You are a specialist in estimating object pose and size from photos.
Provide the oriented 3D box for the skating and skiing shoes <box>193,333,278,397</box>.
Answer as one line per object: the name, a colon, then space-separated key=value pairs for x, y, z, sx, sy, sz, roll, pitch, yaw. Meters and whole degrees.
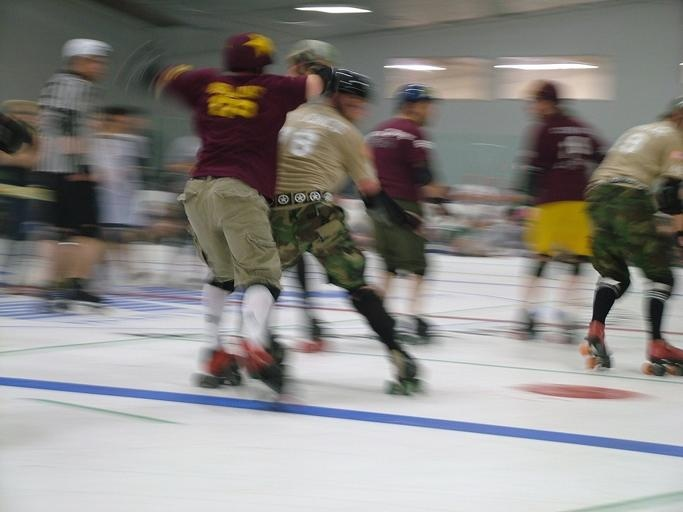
skating and skiing shoes: x=-0.428 y=0.487 z=2.662 sx=0.639 sy=0.201 sz=0.185 roll=-5 pitch=-1 yaw=13

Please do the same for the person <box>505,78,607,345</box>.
person: x=1.516 y=-0.324 z=4.500 sx=0.826 sy=1.683 sz=0.721 roll=-2 pitch=8 yaw=12

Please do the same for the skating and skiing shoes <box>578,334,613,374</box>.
skating and skiing shoes: x=1.358 y=0.530 z=3.406 sx=0.145 sy=0.226 sz=0.102 roll=-44 pitch=28 yaw=-21
